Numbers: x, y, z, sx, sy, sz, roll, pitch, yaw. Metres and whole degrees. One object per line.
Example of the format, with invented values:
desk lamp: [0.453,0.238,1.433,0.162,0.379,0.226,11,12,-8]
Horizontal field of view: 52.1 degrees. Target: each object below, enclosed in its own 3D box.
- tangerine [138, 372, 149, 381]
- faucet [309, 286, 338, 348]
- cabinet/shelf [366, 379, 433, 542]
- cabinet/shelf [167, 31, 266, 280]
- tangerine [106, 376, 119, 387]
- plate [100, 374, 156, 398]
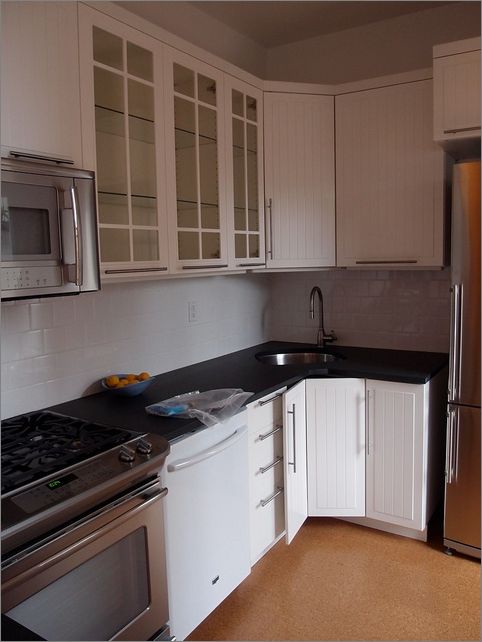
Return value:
tangerine: [-0.404,0.228,2.029,0.034,0.048,0.037,6,-32,-21]
faucet: [0.502,-0.030,2.983,0.158,0.366,0.258,0,4,11]
cabinet/shelf: [0.718,0.617,2.294,0.267,0.687,0.095,1,5,22]
cabinet/shelf: [-0.168,-0.688,2.350,0.237,0.983,0.780,5,11,32]
tangerine: [-0.518,0.238,1.963,0.050,0.034,0.065,-3,4,-22]
plate: [-0.468,0.260,2.001,0.196,0.085,0.199,-3,4,-19]
